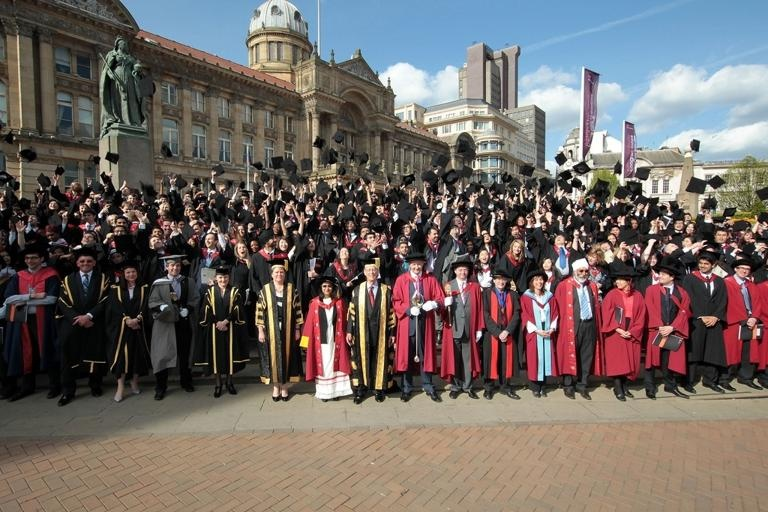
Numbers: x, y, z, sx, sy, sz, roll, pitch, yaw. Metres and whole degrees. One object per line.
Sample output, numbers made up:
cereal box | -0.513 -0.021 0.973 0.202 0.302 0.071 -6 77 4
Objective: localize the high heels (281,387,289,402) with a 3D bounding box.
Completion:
high heels | -2.482 3.462 17.976 0.132 0.377 0.103 -5 0 -17

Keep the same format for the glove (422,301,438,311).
glove | 1.132 1.235 17.777 0.267 0.105 0.241 3 -40 -10

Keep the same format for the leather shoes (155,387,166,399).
leather shoes | -5.529 3.458 17.902 0.191 0.243 0.335 -3 -1 42

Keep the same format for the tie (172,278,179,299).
tie | -5.186 0.814 17.994 0.196 0.468 0.115 -2 -1 -45

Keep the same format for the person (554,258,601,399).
person | 4.898 1.857 18.174 1.134 3.600 0.392 -2 0 13

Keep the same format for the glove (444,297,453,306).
glove | 1.582 1.126 17.913 0.200 0.240 0.207 -2 0 12

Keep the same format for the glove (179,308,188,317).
glove | -4.972 1.413 17.890 0.167 0.209 0.177 1 -2 -11

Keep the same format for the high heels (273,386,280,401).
high heels | -2.714 3.437 17.936 0.237 0.326 0.142 -3 -1 36

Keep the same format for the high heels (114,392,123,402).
high heels | -6.543 3.496 17.776 0.234 0.207 0.205 -2 0 -23

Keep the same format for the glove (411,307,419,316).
glove | 0.756 1.359 17.882 0.227 0.244 0.179 -2 0 -1

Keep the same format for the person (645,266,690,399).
person | 7.144 1.905 18.242 1.159 3.584 0.631 -2 0 9

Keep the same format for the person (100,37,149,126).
person | -9.595 -6.207 26.450 1.453 2.879 0.828 -2 0 -28
